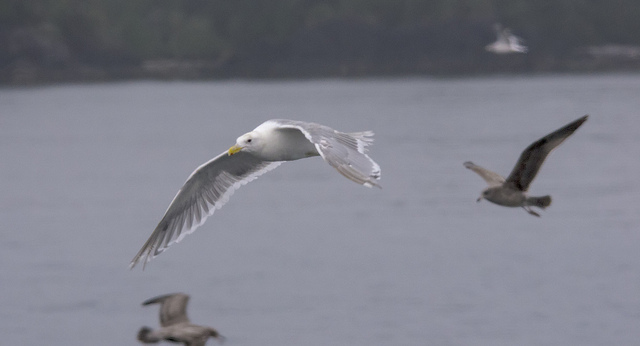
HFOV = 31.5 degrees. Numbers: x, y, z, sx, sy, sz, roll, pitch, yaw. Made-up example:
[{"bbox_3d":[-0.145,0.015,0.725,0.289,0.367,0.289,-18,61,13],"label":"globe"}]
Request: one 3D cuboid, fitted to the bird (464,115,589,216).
[{"bbox_3d":[5.127,-0.022,27.663,1.369,0.791,2.964,5,-22,-32],"label":"bird"}]
